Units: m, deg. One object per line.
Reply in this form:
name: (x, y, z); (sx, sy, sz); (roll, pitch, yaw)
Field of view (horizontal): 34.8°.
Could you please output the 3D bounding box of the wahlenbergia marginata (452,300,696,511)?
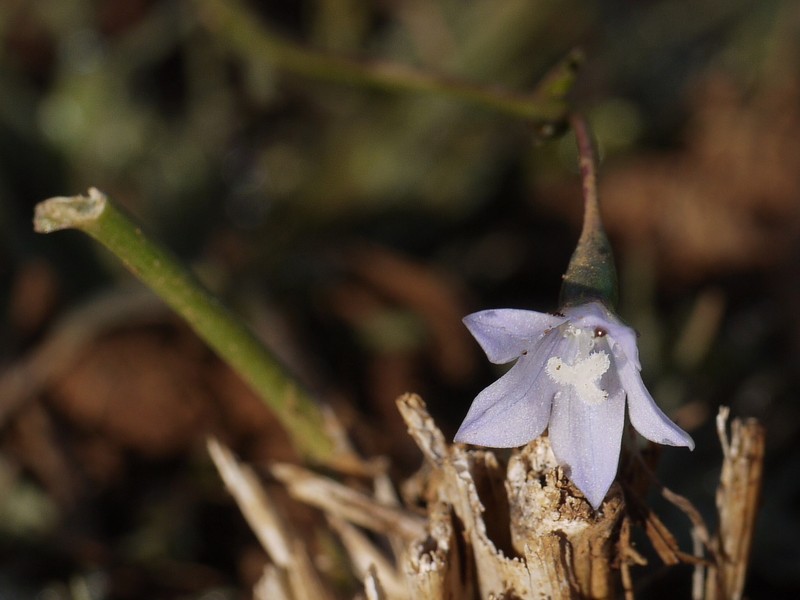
wahlenbergia marginata: (0.209, 0.127, 1.591); (0.241, 0.259, 0.181); (4, -14, -28)
